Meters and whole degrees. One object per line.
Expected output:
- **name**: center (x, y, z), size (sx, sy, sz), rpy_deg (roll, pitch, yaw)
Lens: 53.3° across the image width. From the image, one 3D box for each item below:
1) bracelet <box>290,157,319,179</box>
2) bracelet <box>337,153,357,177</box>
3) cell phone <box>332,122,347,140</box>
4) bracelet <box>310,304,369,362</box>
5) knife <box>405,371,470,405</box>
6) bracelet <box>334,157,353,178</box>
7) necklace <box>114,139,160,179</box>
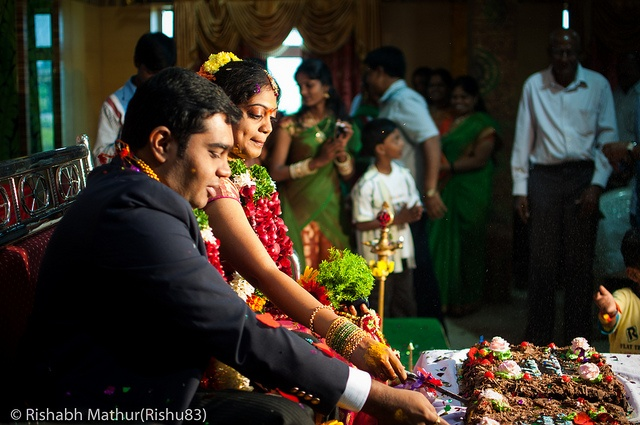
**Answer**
- **bracelet**: center (-0.142, -0.315, 5.149), size (0.172, 0.148, 0.189), rpy_deg (-7, -16, 20)
- **bracelet**: center (0.207, -0.359, 5.176), size (0.154, 0.183, 0.164), rpy_deg (-26, 7, -12)
- **cell phone**: center (0.164, -0.654, 5.079), size (0.134, 0.144, 0.079), rpy_deg (3, 7, 21)
- **bracelet**: center (0.079, 0.548, 2.898), size (0.173, 0.248, 0.099), rpy_deg (-46, -9, -32)
- **knife**: center (0.566, 0.861, 3.064), size (0.366, 0.034, 0.054), rpy_deg (30, 34, -7)
- **bracelet**: center (0.200, -0.357, 5.168), size (0.140, 0.161, 0.141), rpy_deg (-19, 20, -10)
- **necklace**: center (-0.795, -0.224, 2.773), size (0.192, 0.144, 0.063), rpy_deg (41, 4, -4)
